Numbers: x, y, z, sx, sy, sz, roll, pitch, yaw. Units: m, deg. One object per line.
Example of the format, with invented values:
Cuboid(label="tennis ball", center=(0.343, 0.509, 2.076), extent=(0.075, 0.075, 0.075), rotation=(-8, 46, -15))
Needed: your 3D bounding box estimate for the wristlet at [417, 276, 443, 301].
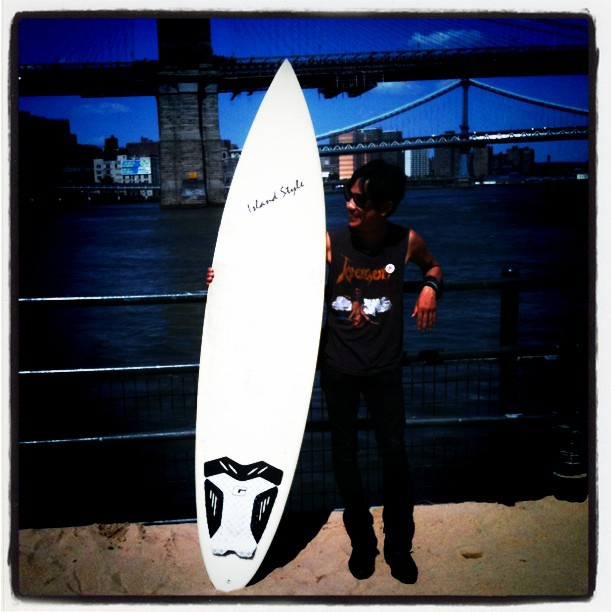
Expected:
Cuboid(label="wristlet", center=(0.688, -0.089, 5.429), extent=(0.095, 0.133, 0.062), rotation=(4, -8, 5))

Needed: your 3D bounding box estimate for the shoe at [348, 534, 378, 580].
Cuboid(label="shoe", center=(0.304, 1.368, 5.483), extent=(0.095, 0.287, 0.112), rotation=(4, -5, 7))

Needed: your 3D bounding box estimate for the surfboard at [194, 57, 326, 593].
Cuboid(label="surfboard", center=(-0.233, 0.159, 5.669), extent=(0.660, 3.066, 0.409), rotation=(3, -2, 12))
